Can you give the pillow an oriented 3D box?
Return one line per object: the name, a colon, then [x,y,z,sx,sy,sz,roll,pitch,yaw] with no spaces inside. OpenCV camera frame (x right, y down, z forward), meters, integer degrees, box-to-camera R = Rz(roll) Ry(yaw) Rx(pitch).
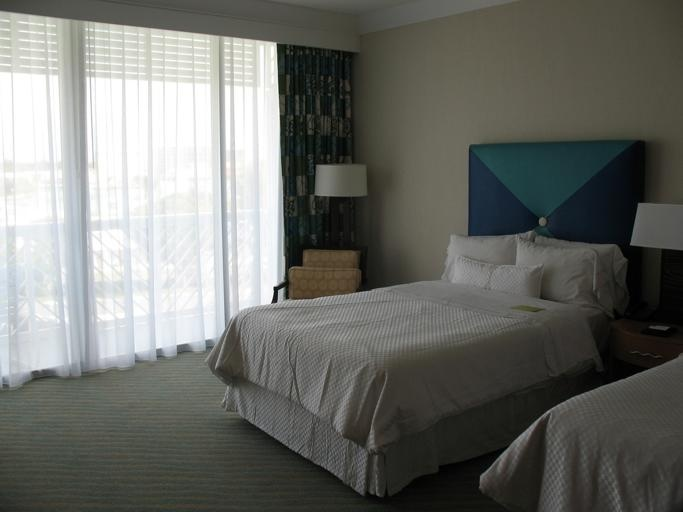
pillow: [1.730,0.106,4.915,1.554,0.584,0.425,11,17,41]
